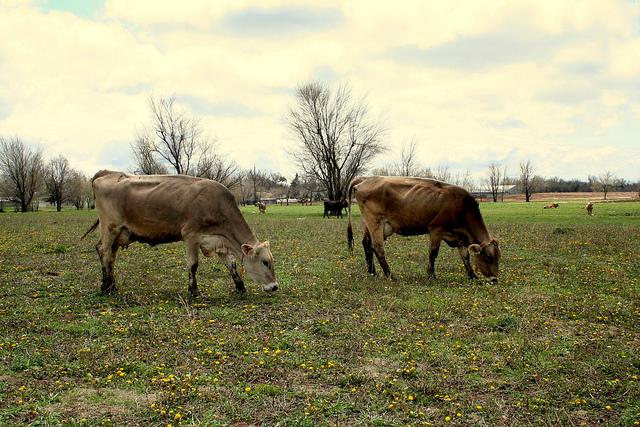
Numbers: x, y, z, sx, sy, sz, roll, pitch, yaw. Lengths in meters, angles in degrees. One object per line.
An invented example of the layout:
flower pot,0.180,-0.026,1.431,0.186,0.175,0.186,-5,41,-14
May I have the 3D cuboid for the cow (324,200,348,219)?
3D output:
cow,1.361,-0.470,51.778,1.967,1.713,3.095,1,8,0
